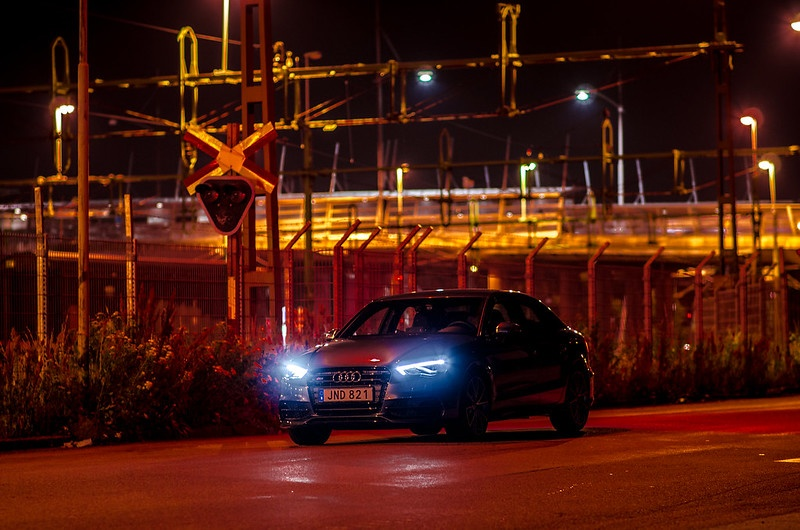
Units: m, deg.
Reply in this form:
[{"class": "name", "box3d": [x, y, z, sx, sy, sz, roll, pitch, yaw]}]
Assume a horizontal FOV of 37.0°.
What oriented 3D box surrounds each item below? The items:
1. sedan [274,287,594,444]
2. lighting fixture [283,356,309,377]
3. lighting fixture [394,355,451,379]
[{"class": "sedan", "box3d": [0.633, 1.497, 18.192, 4.654, 2.244, 1.934, 4, -7, -34]}, {"class": "lighting fixture", "box3d": [-1.547, 1.519, 17.571, 0.212, 0.325, 0.651, 3, -7, -26]}, {"class": "lighting fixture", "box3d": [0.310, 1.471, 17.026, 0.803, 0.267, 0.140, 2, -6, -19]}]
